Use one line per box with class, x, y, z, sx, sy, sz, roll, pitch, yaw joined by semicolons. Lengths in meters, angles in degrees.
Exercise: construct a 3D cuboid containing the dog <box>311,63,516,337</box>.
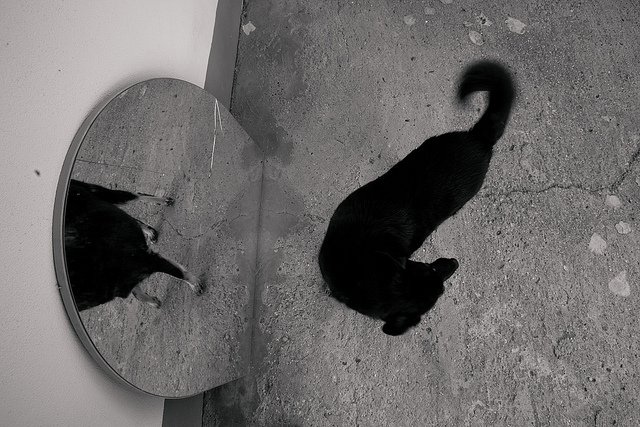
dog;0.264;-0.031;2.852;0.508;0.890;0.266;47;120;9
